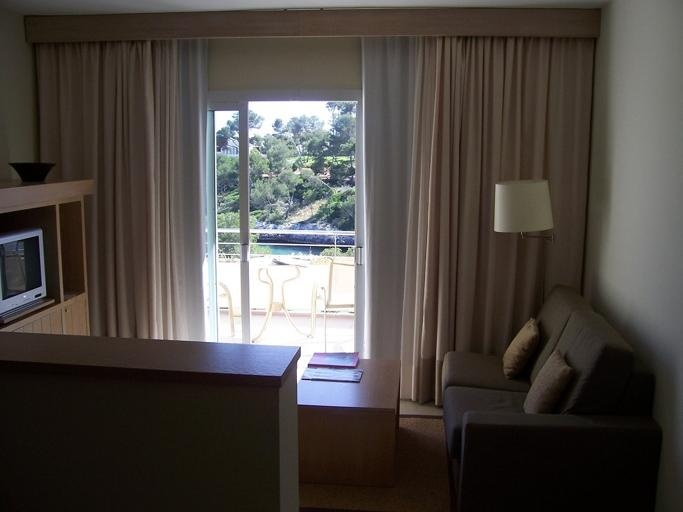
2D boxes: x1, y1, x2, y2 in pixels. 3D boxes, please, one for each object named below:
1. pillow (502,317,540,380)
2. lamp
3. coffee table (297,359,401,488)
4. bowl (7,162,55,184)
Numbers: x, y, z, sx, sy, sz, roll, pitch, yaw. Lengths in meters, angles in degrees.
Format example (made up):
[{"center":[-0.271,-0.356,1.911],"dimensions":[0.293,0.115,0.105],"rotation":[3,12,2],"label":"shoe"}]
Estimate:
[{"center":[1.277,0.665,4.179],"dimensions":[0.277,0.435,0.582],"rotation":[3,-10,10],"label":"pillow"},{"center":[1.291,-0.291,4.033],"dimensions":[0.411,0.460,0.418],"rotation":[-3,9,20],"label":"lamp"},{"center":[0.055,1.081,3.910],"dimensions":[0.601,0.489,0.971],"rotation":[0,16,3],"label":"coffee table"},{"center":[-2.377,-0.642,4.349],"dimensions":[0.249,0.104,0.251],"rotation":[0,5,0],"label":"bowl"}]
